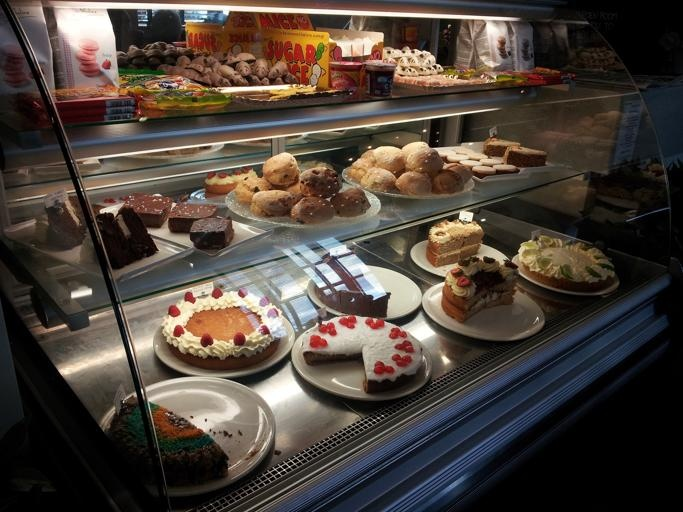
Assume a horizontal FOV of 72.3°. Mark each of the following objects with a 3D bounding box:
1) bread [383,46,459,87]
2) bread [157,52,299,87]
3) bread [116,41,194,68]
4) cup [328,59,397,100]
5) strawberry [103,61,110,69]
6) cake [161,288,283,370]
[{"bbox_3d":[0.327,-0.787,1.930,0.293,0.136,0.499,0,25,4],"label":"bread"},{"bbox_3d":[-0.383,-0.642,1.616,0.455,0.106,0.256,-11,27,-18],"label":"bread"},{"bbox_3d":[-0.621,-0.667,1.570,0.233,0.039,0.197,8,19,28],"label":"bread"},{"bbox_3d":[0.075,-0.602,1.604,0.200,0.066,0.163,9,23,17],"label":"cup"},{"bbox_3d":[-0.648,-0.530,1.297,0.029,0.015,0.022,-10,17,-13],"label":"strawberry"},{"bbox_3d":[-0.447,0.267,1.711,0.413,0.095,0.360,15,26,22],"label":"cake"}]
